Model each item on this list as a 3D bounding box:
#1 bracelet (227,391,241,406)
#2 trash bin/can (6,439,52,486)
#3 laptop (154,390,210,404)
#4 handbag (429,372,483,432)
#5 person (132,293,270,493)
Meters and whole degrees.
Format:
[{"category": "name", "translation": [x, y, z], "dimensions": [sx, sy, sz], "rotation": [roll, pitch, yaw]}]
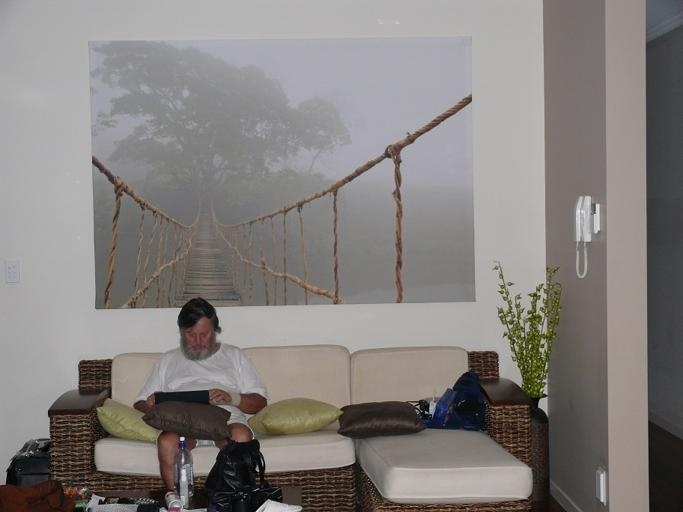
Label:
[{"category": "bracelet", "translation": [-0.694, 0.919, 4.016], "dimensions": [0.079, 0.066, 0.080], "rotation": [9, -10, -32]}, {"category": "trash bin/can", "translation": [-2.079, 1.373, 4.110], "dimensions": [0.252, 0.295, 0.436], "rotation": [0, -1, -29]}, {"category": "laptop", "translation": [-0.971, 0.862, 3.780], "dimensions": [0.324, 0.086, 0.149], "rotation": [0, -1, -13]}, {"category": "handbag", "translation": [0.761, 0.907, 3.886], "dimensions": [0.291, 0.322, 0.116], "rotation": [-1, -13, 3]}, {"category": "person", "translation": [-0.867, 0.988, 4.001], "dimensions": [0.824, 1.391, 0.845], "rotation": [6, -14, -35]}]
